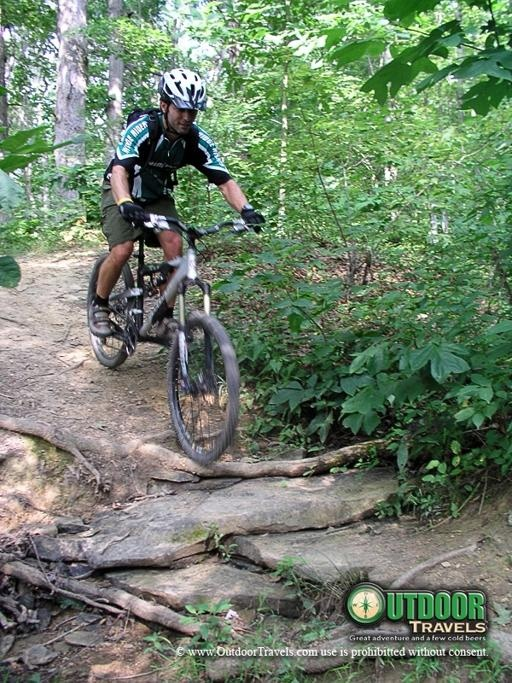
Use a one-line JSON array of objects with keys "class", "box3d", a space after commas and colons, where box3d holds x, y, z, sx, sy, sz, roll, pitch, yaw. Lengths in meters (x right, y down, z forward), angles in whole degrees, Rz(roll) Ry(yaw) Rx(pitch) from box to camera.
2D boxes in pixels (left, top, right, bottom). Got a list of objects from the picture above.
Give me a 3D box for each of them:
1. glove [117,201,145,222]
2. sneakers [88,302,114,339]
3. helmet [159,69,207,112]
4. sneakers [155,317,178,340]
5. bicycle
[{"class": "glove", "box3d": [-0.766, -0.808, 3.756, 0.168, 0.136, 0.119, -1, 10, -10]}, {"class": "sneakers", "box3d": [-1.270, -0.190, 4.896, 0.144, 0.148, 0.357, -15, 48, -29]}, {"class": "helmet", "box3d": [-0.472, -1.582, 3.828, 0.238, 0.133, 0.327, -19, 59, -25]}, {"class": "sneakers", "box3d": [-0.636, -0.094, 4.289, 0.138, 0.151, 0.081, 3, 0, 34]}, {"class": "bicycle", "box3d": [-0.634, -0.088, 4.153, 0.882, 1.114, 2.081, -1, 31, -38]}]
